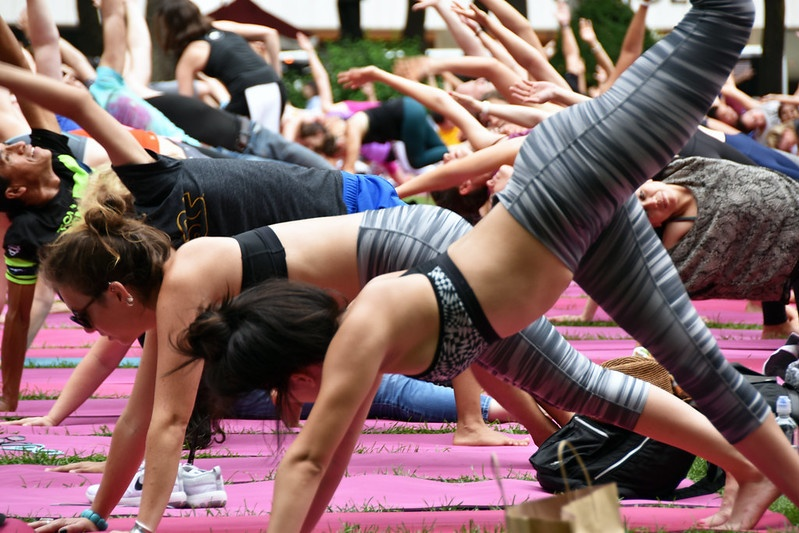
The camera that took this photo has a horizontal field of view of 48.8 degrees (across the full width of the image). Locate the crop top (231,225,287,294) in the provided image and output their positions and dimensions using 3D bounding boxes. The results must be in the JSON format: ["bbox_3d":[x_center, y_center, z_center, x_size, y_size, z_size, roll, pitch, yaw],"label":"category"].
[{"bbox_3d":[-0.589,-0.064,3.724,0.226,0.173,0.230,-13,-18,-6],"label":"crop top"}]

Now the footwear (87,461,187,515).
[{"bbox_3d":[-1.197,1.038,4.148,0.556,0.260,0.193,2,-11,3],"label":"footwear"}]

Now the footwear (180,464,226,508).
[{"bbox_3d":[-0.920,1.029,4.118,0.113,0.124,0.308,4,-7,-38],"label":"footwear"}]

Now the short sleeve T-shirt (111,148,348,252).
[{"bbox_3d":[-0.775,-0.345,4.126,0.670,0.234,0.561,-1,23,-10],"label":"short sleeve T-shirt"}]

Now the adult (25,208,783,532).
[{"bbox_3d":[0.019,0.533,4.291,3.589,1.611,1.198,-3,-16,-5],"label":"adult"}]

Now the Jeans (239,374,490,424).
[{"bbox_3d":[-0.119,0.608,4.107,0.626,0.189,0.452,-3,-3,-3],"label":"Jeans"}]

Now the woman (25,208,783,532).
[{"bbox_3d":[-0.052,0.527,4.287,3.589,1.611,1.198,-3,-16,-5],"label":"woman"}]

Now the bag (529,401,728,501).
[{"bbox_3d":[1.216,0.999,4.452,0.967,0.365,0.997,14,-19,-25],"label":"bag"}]
